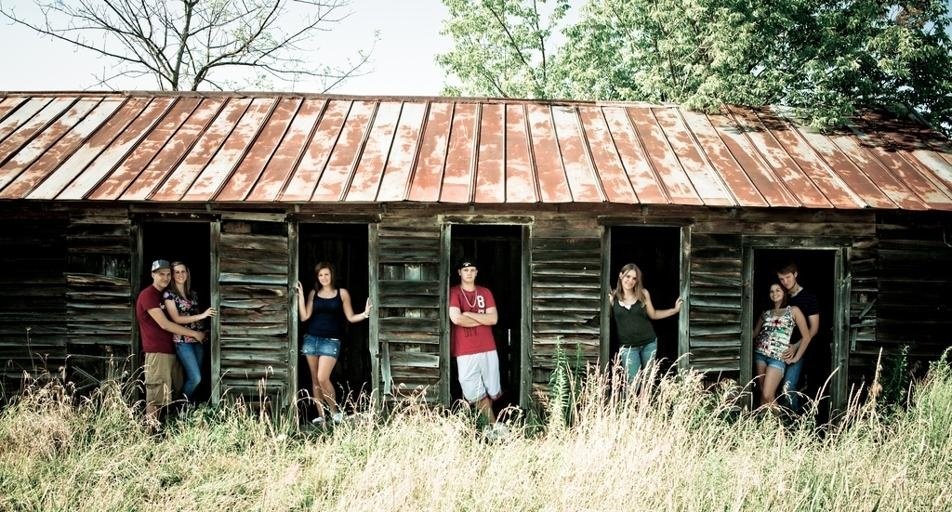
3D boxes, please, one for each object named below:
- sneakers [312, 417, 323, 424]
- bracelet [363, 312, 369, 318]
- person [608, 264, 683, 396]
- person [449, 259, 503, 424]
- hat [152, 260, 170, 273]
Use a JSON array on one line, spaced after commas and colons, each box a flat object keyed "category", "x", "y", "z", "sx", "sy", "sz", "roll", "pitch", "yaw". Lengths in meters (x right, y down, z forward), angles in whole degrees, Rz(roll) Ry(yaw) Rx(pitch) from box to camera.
[{"category": "sneakers", "x": -3.097, "y": 3.261, "z": 16.009, "sx": 0.254, "sy": 0.088, "sz": 0.129, "roll": 2, "pitch": -5, "yaw": -7}, {"category": "bracelet", "x": -2.165, "y": 1.171, "z": 16.023, "sx": 0.134, "sy": 0.121, "sz": 0.053, "roll": -1, "pitch": 0, "yaw": -8}, {"category": "person", "x": 3.265, "y": 1.344, "z": 15.935, "sx": 1.078, "sy": 2.360, "sz": 0.659, "roll": 0, "pitch": 3, "yaw": -10}, {"category": "person", "x": -0.027, "y": 1.697, "z": 15.880, "sx": 1.008, "sy": 3.186, "sz": 0.626, "roll": 1, "pitch": 3, "yaw": 0}, {"category": "hat", "x": -6.033, "y": 0.189, "z": 15.583, "sx": 0.302, "sy": 0.222, "sz": 0.343, "roll": 0, "pitch": 3, "yaw": -18}]
